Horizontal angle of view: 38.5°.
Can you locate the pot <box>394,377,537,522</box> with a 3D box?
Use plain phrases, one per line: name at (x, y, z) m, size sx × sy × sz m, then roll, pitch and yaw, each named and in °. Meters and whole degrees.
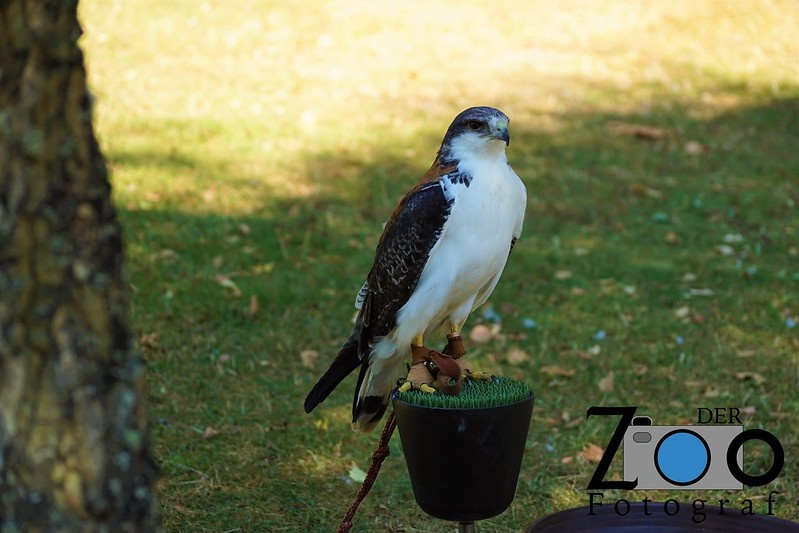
pot at (0.455, 1.179, 7.426) m, size 0.899 × 0.826 × 0.716 m, roll -2°, pitch 90°, yaw -8°
